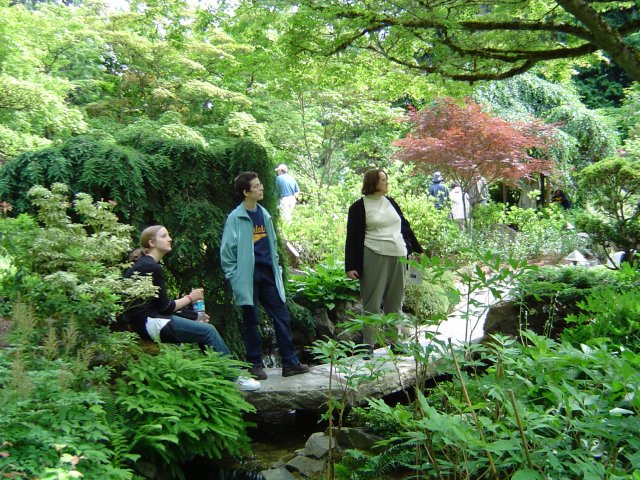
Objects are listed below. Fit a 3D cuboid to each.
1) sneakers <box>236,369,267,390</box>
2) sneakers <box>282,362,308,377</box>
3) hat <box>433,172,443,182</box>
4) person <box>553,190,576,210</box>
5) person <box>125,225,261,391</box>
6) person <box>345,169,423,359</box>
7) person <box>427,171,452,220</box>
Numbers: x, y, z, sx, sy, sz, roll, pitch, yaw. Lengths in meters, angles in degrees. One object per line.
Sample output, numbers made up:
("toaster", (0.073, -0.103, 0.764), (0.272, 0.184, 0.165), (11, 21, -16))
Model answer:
("sneakers", (-0.528, 1.216, 4.234), (0.370, 0.133, 0.116), (-3, 9, -13))
("sneakers", (-0.236, 1.234, 4.662), (0.251, 0.090, 0.096), (-3, 7, -24))
("hat", (3.105, -1.671, 12.883), (0.259, 0.159, 0.295), (-8, 3, -4))
("person", (7.623, -1.300, 15.399), (0.520, 0.643, 0.747), (-6, -7, 24))
("person", (-1.209, 0.402, 4.001), (0.672, 1.042, 0.376), (1, -8, -34))
("person", (0.632, 0.027, 4.881), (0.750, 1.421, 0.447), (1, -8, -35))
("person", (3.040, -1.278, 12.514), (0.519, 1.209, 1.641), (-5, -6, 14))
